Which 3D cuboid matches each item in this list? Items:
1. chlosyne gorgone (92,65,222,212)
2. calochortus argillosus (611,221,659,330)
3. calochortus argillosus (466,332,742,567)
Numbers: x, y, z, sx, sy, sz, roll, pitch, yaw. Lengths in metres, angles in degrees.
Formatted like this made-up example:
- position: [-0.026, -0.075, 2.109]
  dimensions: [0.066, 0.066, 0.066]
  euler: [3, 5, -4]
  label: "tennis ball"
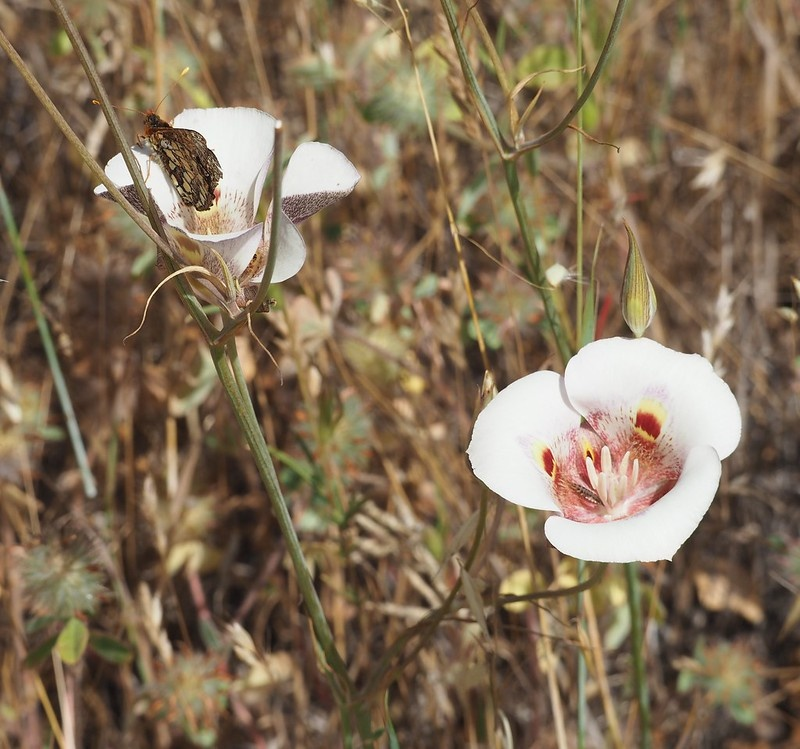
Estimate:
- position: [-0.310, -0.310, 1.426]
  dimensions: [0.105, 0.250, 0.228]
  euler: [-31, 38, -18]
  label: "chlosyne gorgone"
- position: [0.362, -0.155, 1.510]
  dimensions: [0.033, 0.036, 0.176]
  euler: [-7, 103, -8]
  label: "calochortus argillosus"
- position: [0.300, 0.113, 1.460]
  dimensions: [0.394, 0.226, 0.335]
  euler: [-5, 79, 8]
  label: "calochortus argillosus"
